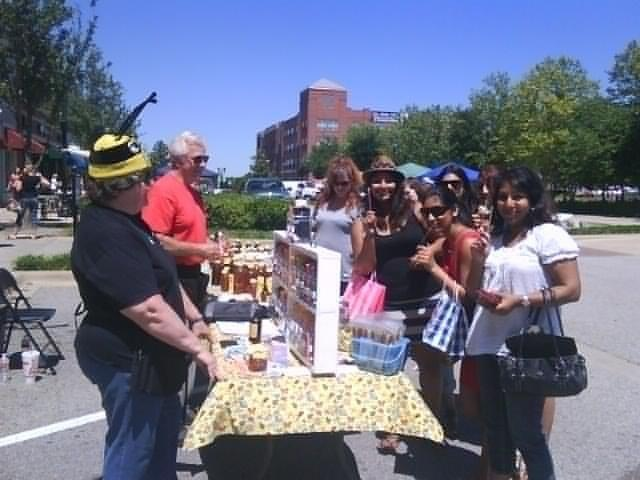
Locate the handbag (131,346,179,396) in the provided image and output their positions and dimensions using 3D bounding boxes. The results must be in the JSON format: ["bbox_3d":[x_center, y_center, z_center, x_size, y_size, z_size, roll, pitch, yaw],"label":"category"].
[{"bbox_3d":[-1.080,0.836,3.927,0.310,0.442,0.070,3,-5,-34],"label":"handbag"}]

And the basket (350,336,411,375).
[{"bbox_3d":[0.442,0.843,4.508,0.250,0.213,0.370,0,-4,9],"label":"basket"}]

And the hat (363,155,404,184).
[{"bbox_3d":[0.651,-0.766,6.288,0.356,0.198,0.376,1,-13,-1],"label":"hat"}]

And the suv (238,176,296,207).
[{"bbox_3d":[-2.753,-2.929,34.823,3.179,1.810,2.129,1,7,35],"label":"suv"}]

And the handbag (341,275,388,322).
[{"bbox_3d":[0.372,0.482,4.973,0.224,0.322,0.110,15,-19,21],"label":"handbag"}]

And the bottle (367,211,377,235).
[{"bbox_3d":[0.457,-0.150,5.395,0.054,0.176,0.128,-8,28,6],"label":"bottle"}]

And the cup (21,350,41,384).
[{"bbox_3d":[-3.245,1.397,6.844,0.170,0.328,0.375,-2,6,-26],"label":"cup"}]

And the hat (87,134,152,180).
[{"bbox_3d":[-1.310,-0.540,3.940,0.373,0.294,0.324,1,5,6],"label":"hat"}]
